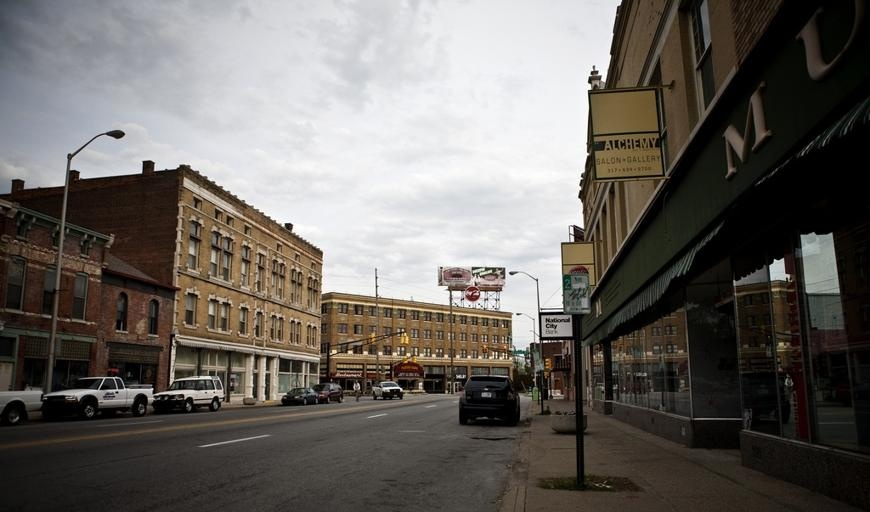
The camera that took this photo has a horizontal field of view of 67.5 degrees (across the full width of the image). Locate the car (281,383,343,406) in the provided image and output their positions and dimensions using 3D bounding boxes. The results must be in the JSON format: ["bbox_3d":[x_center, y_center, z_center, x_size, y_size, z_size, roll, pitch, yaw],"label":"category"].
[{"bbox_3d":[-10.741,12.134,57.533,2.559,2.445,6.427,-7,-18,15],"label":"car"}]

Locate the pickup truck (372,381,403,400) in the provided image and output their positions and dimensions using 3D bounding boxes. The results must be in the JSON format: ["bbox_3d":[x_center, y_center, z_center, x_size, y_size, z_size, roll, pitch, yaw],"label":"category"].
[{"bbox_3d":[-5.211,14.468,70.564,2.529,2.547,6.649,2,-18,-11],"label":"pickup truck"}]

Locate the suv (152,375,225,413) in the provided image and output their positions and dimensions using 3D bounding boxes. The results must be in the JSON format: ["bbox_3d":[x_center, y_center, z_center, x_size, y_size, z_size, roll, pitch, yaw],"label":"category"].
[{"bbox_3d":[-15.480,8.586,40.498,2.067,1.725,3.643,-8,-18,23],"label":"suv"}]
